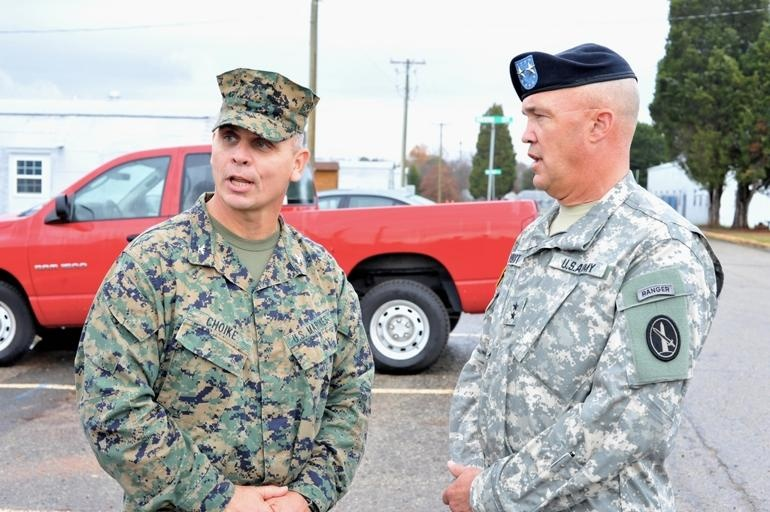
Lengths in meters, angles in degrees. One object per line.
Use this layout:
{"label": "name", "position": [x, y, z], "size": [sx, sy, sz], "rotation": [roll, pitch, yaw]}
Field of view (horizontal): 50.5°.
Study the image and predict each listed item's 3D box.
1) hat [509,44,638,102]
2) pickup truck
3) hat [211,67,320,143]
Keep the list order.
{"label": "hat", "position": [0.987, -0.968, 4.278], "size": [0.689, 0.263, 0.533], "rotation": [-5, -1, -24]}
{"label": "pickup truck", "position": [-1.138, -0.135, 8.514], "size": [5.098, 2.099, 2.208], "rotation": [2, 1, 0]}
{"label": "hat", "position": [-0.605, -0.750, 4.116], "size": [0.505, 0.315, 0.585], "rotation": [6, 4, 9]}
